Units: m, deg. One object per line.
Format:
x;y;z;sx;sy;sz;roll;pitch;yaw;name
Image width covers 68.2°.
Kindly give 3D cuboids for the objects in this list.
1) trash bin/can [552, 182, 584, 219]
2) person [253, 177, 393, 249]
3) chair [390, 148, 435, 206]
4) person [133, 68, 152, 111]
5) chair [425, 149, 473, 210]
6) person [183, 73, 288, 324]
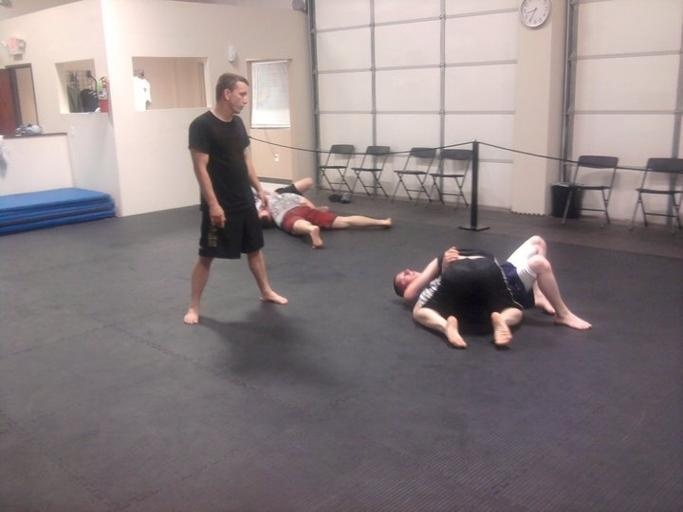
3.577;-0.903;8.173;0.514;0.575;0.527;4;12;31;trash bin/can
-0.528;-0.592;7.377;1.692;0.598;1.122;8;6;37;person
1.602;-1.648;10.003;0.842;1.384;0.957;11;16;37;chair
-4.115;-3.444;10.457;0.304;0.831;1.251;-6;16;-20;person
2.040;-1.505;9.418;0.839;1.382;0.961;8;17;33;chair
-0.998;-0.488;4.393;0.883;2.090;0.425;-14;20;-43;person
